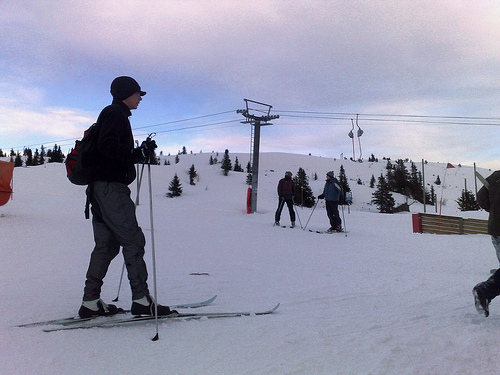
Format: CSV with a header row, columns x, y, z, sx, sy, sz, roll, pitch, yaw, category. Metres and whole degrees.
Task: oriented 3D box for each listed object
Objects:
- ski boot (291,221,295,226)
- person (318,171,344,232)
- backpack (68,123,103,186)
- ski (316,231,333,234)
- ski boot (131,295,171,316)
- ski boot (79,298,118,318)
x,y,z,sx,sy,sz,roll,pitch,yaw,category
1.455,1.251,14.504,0.106,0.149,0.107,2,1,25,ski boot
2.625,0.451,13.435,0.704,1.889,0.870,0,0,11,person
-1.962,-0.338,5.090,0.396,0.786,0.527,11,8,-20,backpack
2.282,1.407,13.029,0.435,0.038,0.290,0,0,7,ski
-1.205,1.427,5.162,0.529,0.339,0.182,1,-6,-13,ski boot
-1.865,1.449,5.194,0.424,0.213,0.200,1,-3,-26,ski boot
